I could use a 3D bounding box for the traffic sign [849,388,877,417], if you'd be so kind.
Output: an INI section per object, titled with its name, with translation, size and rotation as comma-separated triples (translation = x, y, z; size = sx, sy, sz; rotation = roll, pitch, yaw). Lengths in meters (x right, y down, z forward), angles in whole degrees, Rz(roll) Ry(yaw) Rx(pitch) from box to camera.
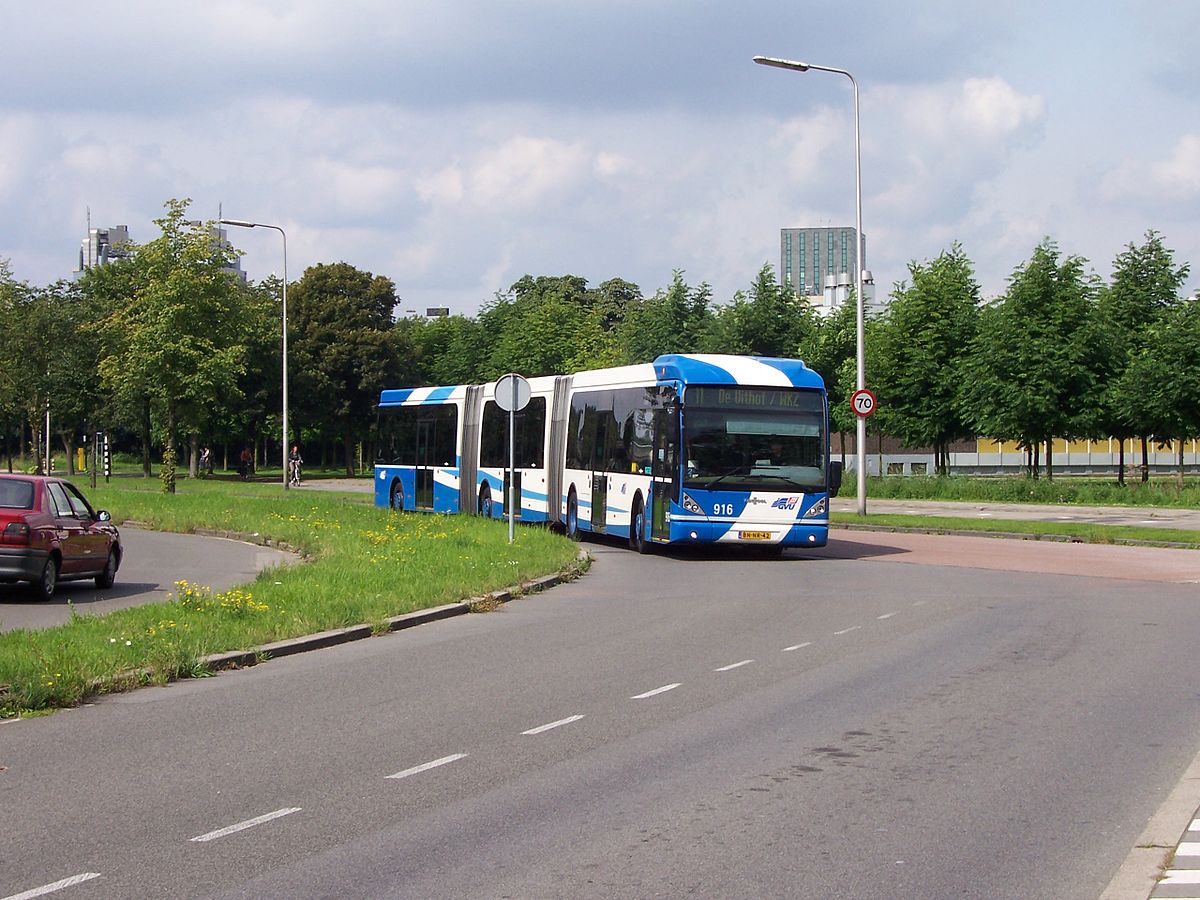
[traffic sign]
translation = 6.212, -1.115, 34.050
size = 0.479, 0.674, 1.585
rotation = 1, 3, 8
